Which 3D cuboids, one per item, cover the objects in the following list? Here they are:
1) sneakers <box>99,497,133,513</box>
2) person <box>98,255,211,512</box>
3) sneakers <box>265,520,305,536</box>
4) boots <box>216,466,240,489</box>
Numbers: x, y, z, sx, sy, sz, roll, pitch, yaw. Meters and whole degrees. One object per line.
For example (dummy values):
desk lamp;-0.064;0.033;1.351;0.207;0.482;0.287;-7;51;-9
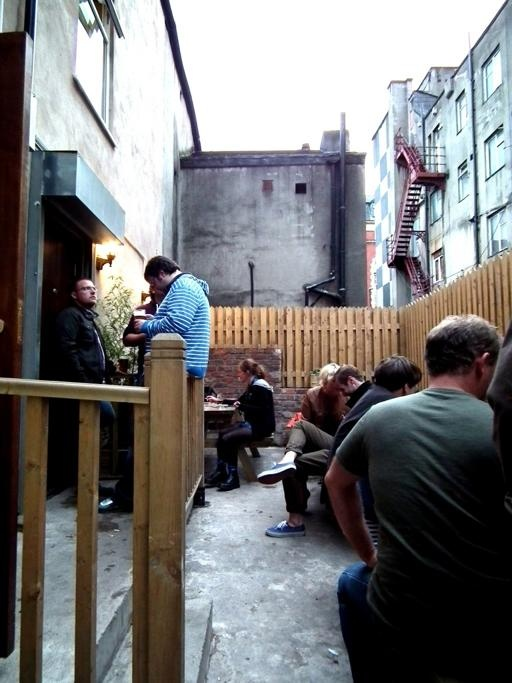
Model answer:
sneakers;-0.944;1.102;3.748;0.213;0.087;0.194;2;-2;-15
person;-0.666;0.241;3.787;0.689;1.809;1.033;1;-2;-6
sneakers;0.221;1.317;3.979;0.245;0.127;0.114;2;-17;-2
boots;-0.267;1.347;5.464;0.219;0.192;0.245;1;-2;-4
